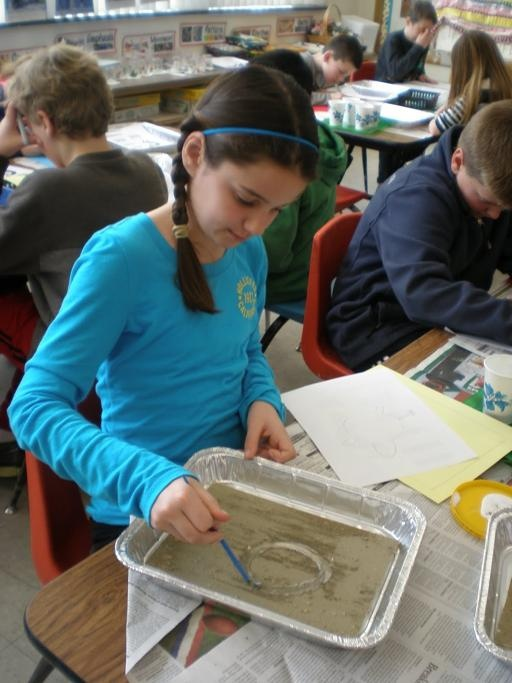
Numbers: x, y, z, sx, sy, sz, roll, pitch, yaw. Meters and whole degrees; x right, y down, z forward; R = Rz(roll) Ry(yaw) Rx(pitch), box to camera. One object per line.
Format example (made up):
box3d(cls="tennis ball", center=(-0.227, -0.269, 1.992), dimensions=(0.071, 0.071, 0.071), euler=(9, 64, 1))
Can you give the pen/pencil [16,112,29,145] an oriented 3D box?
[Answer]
box3d(cls="pen/pencil", center=(-0.725, -0.664, 1.782), dimensions=(0.023, 0.099, 0.029), euler=(-13, 17, 6))
